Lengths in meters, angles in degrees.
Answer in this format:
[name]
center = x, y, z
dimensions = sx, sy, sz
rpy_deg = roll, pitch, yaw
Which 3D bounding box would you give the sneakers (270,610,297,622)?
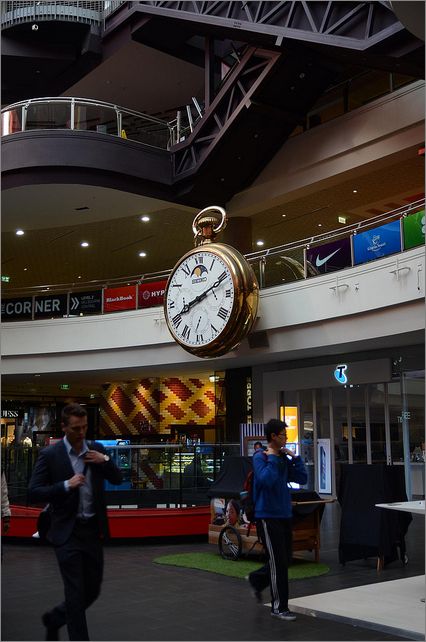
[sneakers]
center = 0.477, 1.980, 3.607
dimensions = 0.154, 0.060, 0.062
rpy_deg = -14, -17, 38

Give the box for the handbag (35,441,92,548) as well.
[handbag]
center = -0.741, 0.875, 2.720
dimensions = 0.340, 0.454, 0.166
rpy_deg = -5, 1, -17

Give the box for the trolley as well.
[trolley]
center = 0.733, 2.346, 6.797
dimensions = 1.547, 1.119, 0.923
rpy_deg = 3, -7, 18

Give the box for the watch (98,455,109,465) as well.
[watch]
center = -0.540, 0.695, 2.669
dimensions = 0.037, 0.040, 0.027
rpy_deg = 5, -34, -45

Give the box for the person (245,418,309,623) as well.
[person]
center = 0.491, 1.379, 3.782
dimensions = 0.433, 1.342, 0.357
rpy_deg = 2, -9, -18
